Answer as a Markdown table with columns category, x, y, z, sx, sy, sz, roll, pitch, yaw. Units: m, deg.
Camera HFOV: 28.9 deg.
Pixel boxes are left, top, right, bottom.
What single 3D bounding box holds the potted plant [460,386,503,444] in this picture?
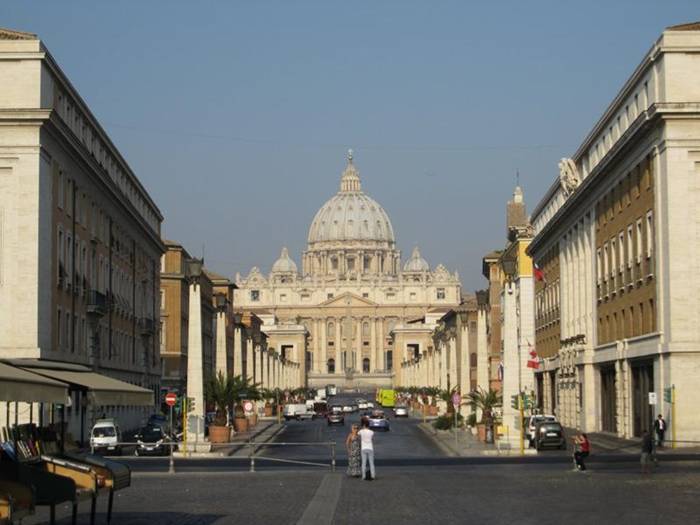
| category | x | y | z | sx | sy | sz | roll | pitch | yaw |
| --- | --- | --- | --- | --- | --- | --- | --- | --- | --- |
| potted plant | 7.276 | 8.446 | 75.664 | 2.273 | 2.888 | 2.356 | -2 | -5 | 13 |

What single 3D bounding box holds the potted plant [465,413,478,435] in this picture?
| category | x | y | z | sx | sy | sz | roll | pitch | yaw |
| --- | --- | --- | --- | --- | --- | --- | --- | --- | --- |
| potted plant | 7.534 | 9.673 | 81.111 | 0.933 | 1.366 | 0.849 | 1 | -12 | -1 |
